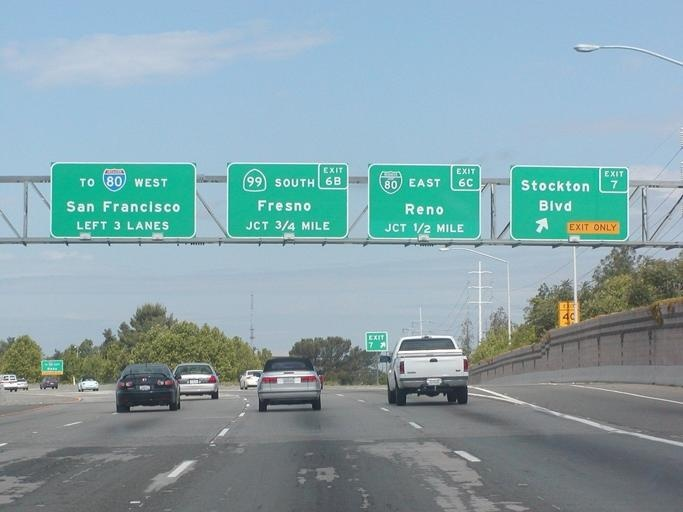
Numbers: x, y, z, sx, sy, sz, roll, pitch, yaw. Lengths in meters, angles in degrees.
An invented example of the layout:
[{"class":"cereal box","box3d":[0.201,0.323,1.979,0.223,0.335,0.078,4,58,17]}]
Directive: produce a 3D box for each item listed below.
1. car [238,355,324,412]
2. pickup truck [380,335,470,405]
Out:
[{"class":"car","box3d":[-1.811,4.517,36.928,2.159,1.895,1.606,0,-6,-7]},{"class":"pickup truck","box3d":[3.024,4.080,37.906,2.987,3.776,8.627,-1,-4,1]}]
